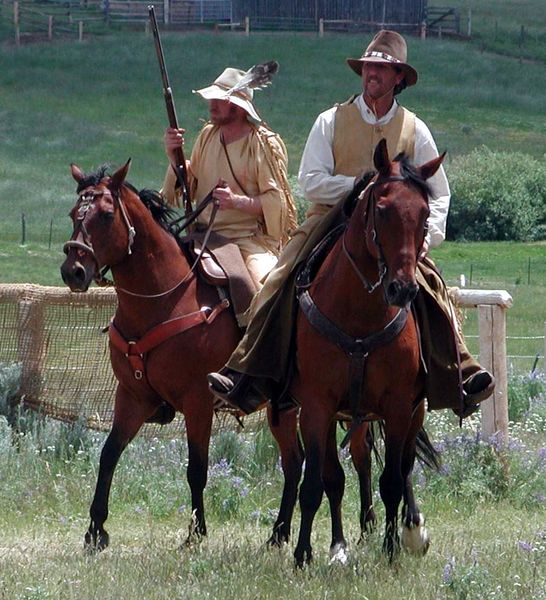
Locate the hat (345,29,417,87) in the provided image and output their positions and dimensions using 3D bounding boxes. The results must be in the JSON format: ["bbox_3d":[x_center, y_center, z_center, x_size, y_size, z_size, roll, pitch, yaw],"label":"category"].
[{"bbox_3d":[0.954,-2.104,11.961,0.601,0.496,0.637,1,8,3],"label":"hat"}]

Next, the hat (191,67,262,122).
[{"bbox_3d":[-0.304,-2.012,12.989,0.447,0.359,0.632,14,-13,34],"label":"hat"}]

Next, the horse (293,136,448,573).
[{"bbox_3d":[0.773,0.479,11.230,1.142,3.560,1.159,3,8,15],"label":"horse"}]
